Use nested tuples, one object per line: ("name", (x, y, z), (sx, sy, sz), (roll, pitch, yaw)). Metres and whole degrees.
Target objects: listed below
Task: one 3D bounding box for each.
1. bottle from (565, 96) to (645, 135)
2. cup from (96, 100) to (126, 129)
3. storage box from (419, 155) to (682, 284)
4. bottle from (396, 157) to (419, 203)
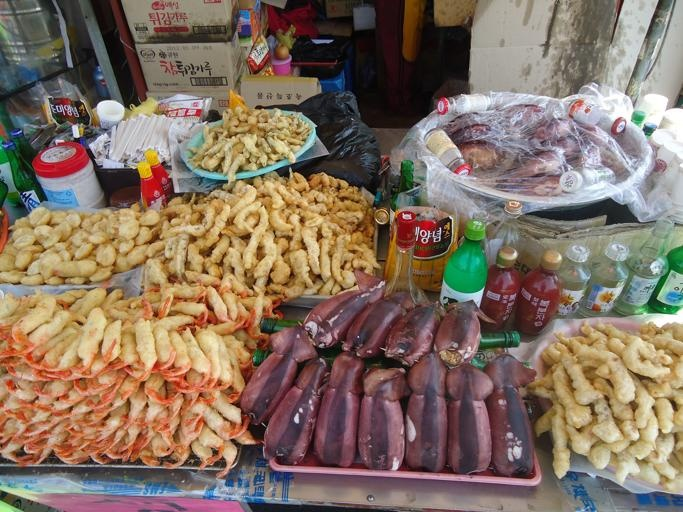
("bottle", (1.140, -0.606, 2.079), (0.085, 0.084, 0.190), (-25, 43, -38))
("cup", (-1.280, -0.783, 2.679), (0.152, 0.129, 0.156), (18, 40, -16))
("storage box", (0.812, -0.260, 1.788), (0.599, 0.167, 0.586), (27, 43, 32))
("bottle", (0.286, -0.306, 2.152), (0.097, 0.273, 0.096), (0, 51, 0))
